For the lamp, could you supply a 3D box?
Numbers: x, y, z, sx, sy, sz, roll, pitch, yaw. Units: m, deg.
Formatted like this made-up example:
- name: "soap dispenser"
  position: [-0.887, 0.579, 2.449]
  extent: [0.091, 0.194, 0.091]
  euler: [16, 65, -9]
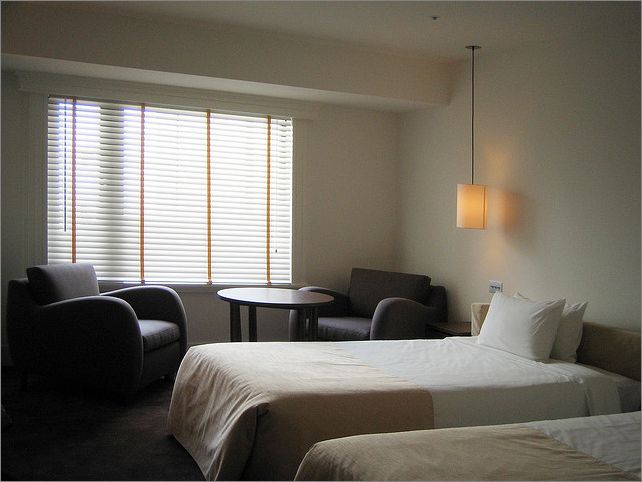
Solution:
- name: "lamp"
  position: [1.432, -0.947, 4.736]
  extent: [0.282, 1.703, 0.557]
  euler: [2, 7, 18]

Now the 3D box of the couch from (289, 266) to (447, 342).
- name: "couch"
  position: [0.546, 0.655, 5.052]
  extent: [0.797, 0.843, 1.114]
  euler: [12, -11, -40]

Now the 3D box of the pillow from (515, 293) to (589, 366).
- name: "pillow"
  position: [1.602, 0.635, 3.562]
  extent: [0.180, 0.394, 0.430]
  euler: [-6, -1, -31]

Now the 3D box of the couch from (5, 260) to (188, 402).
- name: "couch"
  position: [-1.793, 0.731, 4.489]
  extent: [1.327, 1.141, 0.995]
  euler: [0, -2, 14]
